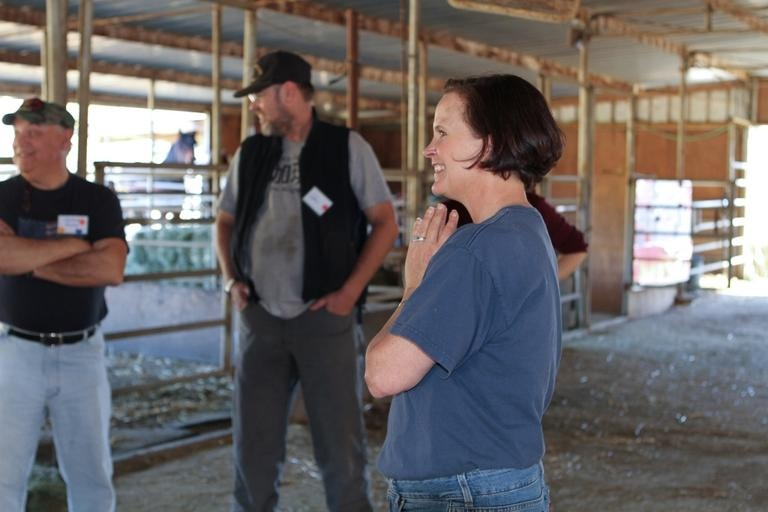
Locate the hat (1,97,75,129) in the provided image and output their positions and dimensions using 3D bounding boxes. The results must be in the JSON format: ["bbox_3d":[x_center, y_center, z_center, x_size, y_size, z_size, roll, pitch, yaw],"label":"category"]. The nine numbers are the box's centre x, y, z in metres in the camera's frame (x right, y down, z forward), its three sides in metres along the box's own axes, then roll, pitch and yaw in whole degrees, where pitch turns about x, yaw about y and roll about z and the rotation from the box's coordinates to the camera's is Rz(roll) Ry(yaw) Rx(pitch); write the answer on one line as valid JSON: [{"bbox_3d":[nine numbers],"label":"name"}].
[{"bbox_3d":[-1.584,-0.602,3.599,0.224,0.071,0.157,9,-1,-42],"label":"hat"}]

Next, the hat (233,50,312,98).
[{"bbox_3d":[-0.527,-0.862,3.782,0.297,0.153,0.190,-2,9,-13],"label":"hat"}]

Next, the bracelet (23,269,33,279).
[{"bbox_3d":[-1.599,0.088,3.537,0.045,0.048,0.051,2,-3,3],"label":"bracelet"}]

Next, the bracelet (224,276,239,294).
[{"bbox_3d":[-0.746,0.144,3.787,0.020,0.072,0.073,24,-25,-26],"label":"bracelet"}]

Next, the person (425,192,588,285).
[{"bbox_3d":[0.717,-0.234,4.434,0.997,0.307,0.810,7,14,3],"label":"person"}]

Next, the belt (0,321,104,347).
[{"bbox_3d":[-1.514,0.356,3.550,0.390,0.088,0.060,0,0,-16],"label":"belt"}]
